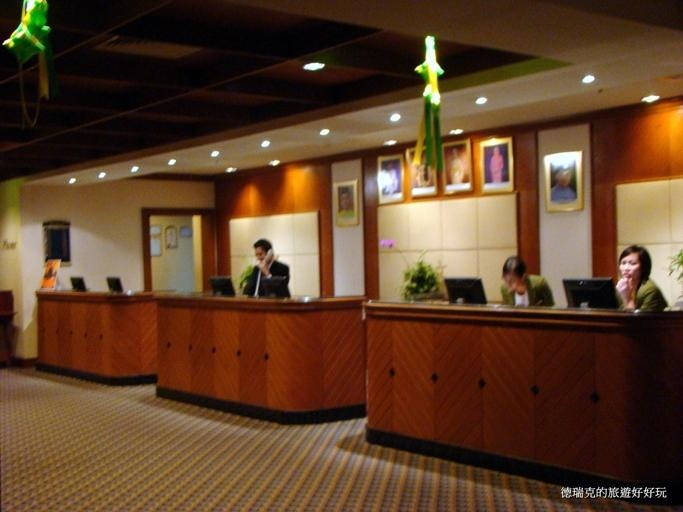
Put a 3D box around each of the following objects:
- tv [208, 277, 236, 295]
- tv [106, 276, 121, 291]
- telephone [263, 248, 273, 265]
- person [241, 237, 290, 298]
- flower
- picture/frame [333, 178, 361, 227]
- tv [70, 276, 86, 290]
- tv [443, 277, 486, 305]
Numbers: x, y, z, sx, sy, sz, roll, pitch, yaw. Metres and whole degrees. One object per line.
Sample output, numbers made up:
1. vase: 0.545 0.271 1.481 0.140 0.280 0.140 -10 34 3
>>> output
1. tv: -1.611 0.408 7.345 0.313 0.256 0.214 -2 0 4
2. tv: -3.788 0.496 9.207 0.174 0.256 0.446 -2 0 -32
3. telephone: -1.003 0.019 7.472 0.032 0.260 0.138 19 -5 43
4. person: -1.015 0.166 7.417 0.582 0.793 1.334 -2 0 -10
5. flower: 1.135 0.201 8.902 0.995 1.155 0.700 1 5 39
6. picture/frame: 0.096 -1.013 10.817 0.628 0.920 0.030 -9 9 -37
7. tv: -4.927 0.514 10.237 0.262 0.273 0.142 3 14 21
8. tv: 1.224 0.342 5.362 0.248 0.258 0.503 -2 1 -18
